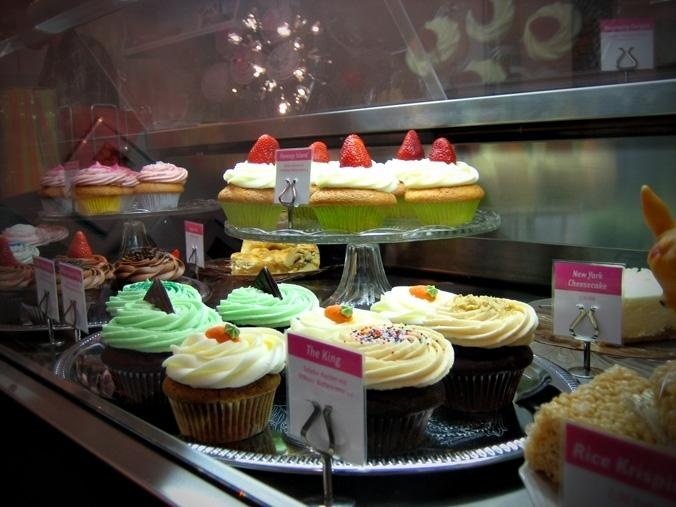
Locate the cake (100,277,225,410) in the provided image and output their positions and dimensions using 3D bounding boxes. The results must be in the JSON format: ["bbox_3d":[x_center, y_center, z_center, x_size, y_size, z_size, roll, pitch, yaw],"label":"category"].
[{"bbox_3d":[-0.532,0.257,1.399,0.401,0.286,0.349,-11,23,-43],"label":"cake"}]

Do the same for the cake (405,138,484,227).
[{"bbox_3d":[0.394,-0.249,1.709,0.341,0.334,0.309,1,6,22],"label":"cake"}]

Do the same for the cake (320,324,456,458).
[{"bbox_3d":[0.133,0.295,1.093,0.287,0.198,0.307,1,-3,16],"label":"cake"}]

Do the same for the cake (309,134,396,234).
[{"bbox_3d":[0.056,-0.228,1.684,0.397,0.304,0.325,0,0,-1],"label":"cake"}]

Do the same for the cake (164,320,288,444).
[{"bbox_3d":[-0.289,0.325,1.203,0.301,0.236,0.339,2,1,28],"label":"cake"}]

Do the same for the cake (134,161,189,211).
[{"bbox_3d":[-0.744,-0.277,1.893,0.226,0.168,0.189,0,9,-25],"label":"cake"}]

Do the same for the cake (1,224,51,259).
[{"bbox_3d":[-1.077,-0.045,1.603,0.152,0.090,0.124,9,14,10],"label":"cake"}]

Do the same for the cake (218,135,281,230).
[{"bbox_3d":[-0.346,-0.262,1.730,0.248,0.363,0.236,-5,10,-1],"label":"cake"}]

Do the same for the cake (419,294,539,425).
[{"bbox_3d":[0.364,0.256,1.200,0.290,0.234,0.263,4,6,43],"label":"cake"}]
